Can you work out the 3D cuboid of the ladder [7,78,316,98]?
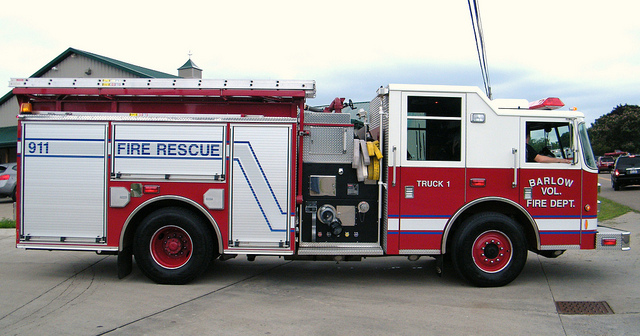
[{"bbox_3d":[-3.940,-2.143,15.634,7.562,0.389,0.263,2,4,0],"label":"ladder"}]

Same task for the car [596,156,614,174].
[{"bbox_3d":[20.963,-0.212,44.864,1.590,1.281,3.087,0,5,18],"label":"car"}]
